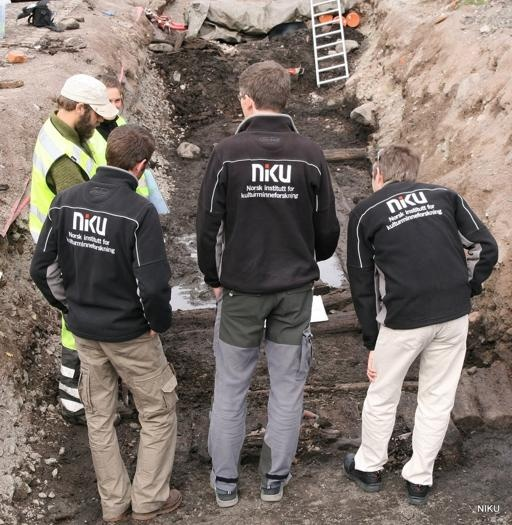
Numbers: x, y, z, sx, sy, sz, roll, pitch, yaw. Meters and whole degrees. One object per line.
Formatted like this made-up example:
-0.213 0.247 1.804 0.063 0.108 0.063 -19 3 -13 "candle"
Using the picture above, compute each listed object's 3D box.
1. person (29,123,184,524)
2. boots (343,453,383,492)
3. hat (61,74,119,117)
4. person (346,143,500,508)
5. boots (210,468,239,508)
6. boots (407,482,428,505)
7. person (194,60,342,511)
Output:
-0.855 0.397 4.036 0.722 2.319 0.771 -8 21 -15 "person"
0.664 1.354 4.324 0.124 0.147 0.317 -6 31 -25 "boots"
-1.093 -1.130 4.582 0.379 0.195 0.246 16 10 22 "hat"
0.934 0.381 4.116 0.768 2.063 0.751 10 24 30 "person"
-0.208 1.412 4.314 0.142 0.166 0.393 -1 19 -14 "boots"
0.997 1.424 4.110 0.183 0.082 0.069 4 41 4 "boots"
0.019 0.163 4.092 0.776 2.636 0.966 6 22 20 "person"
